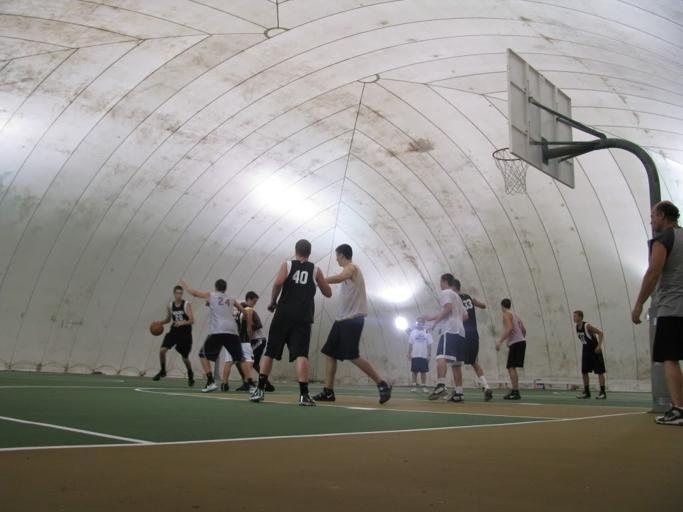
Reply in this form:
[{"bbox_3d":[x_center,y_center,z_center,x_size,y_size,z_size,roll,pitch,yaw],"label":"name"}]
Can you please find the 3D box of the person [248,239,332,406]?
[{"bbox_3d":[-0.805,1.010,8.047,1.063,2.581,0.965,3,-11,-2],"label":"person"}]
